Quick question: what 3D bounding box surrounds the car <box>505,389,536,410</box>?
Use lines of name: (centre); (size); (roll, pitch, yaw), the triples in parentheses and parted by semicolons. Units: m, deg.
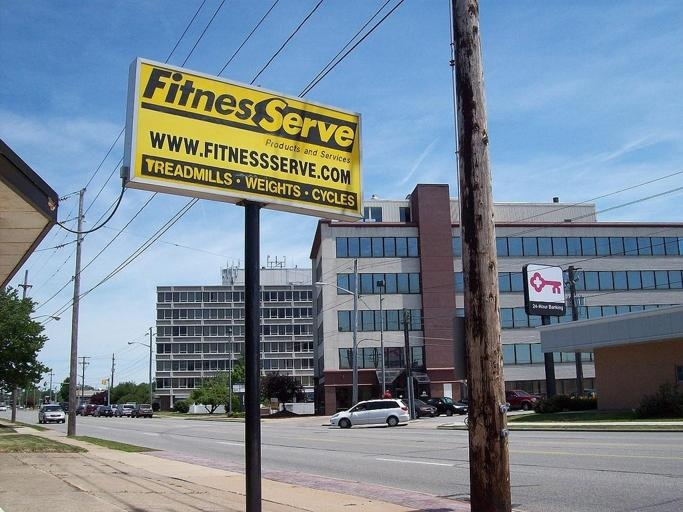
car: (12.324, 9.985, 47.850); (1.845, 1.344, 1.939); (-4, -14, 8)

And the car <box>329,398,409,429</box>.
car: (1.725, 9.470, 41.263); (4.296, 1.420, 1.912); (0, -10, 12)
